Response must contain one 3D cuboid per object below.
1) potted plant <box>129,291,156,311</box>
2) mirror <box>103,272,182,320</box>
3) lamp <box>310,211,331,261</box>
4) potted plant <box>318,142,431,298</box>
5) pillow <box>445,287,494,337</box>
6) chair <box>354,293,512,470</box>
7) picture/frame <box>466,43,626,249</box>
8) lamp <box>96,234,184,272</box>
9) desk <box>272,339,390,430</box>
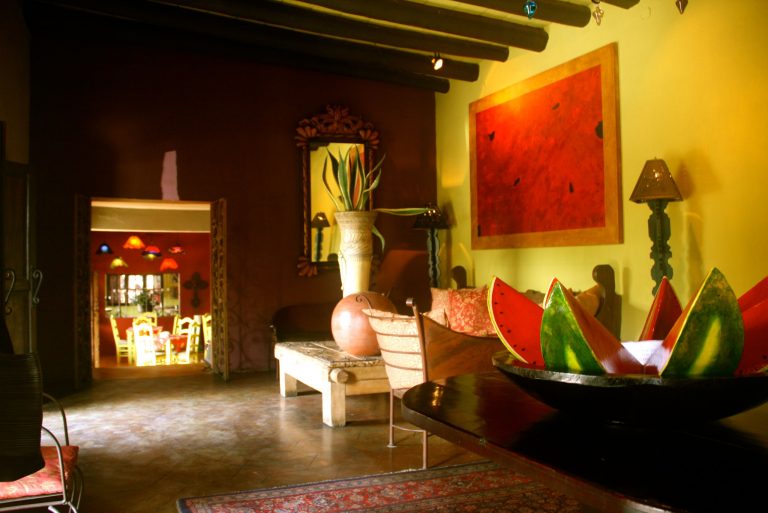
[{"bbox_3d":[-5.680,1.075,13.695,0.501,0.525,0.496,3,-3,-13],"label":"potted plant"},{"bbox_3d":[-5.672,0.945,13.715,1.795,1.088,0.016,3,-11,-42],"label":"mirror"},{"bbox_3d":[-0.820,-0.219,7.239,0.298,0.599,0.292,7,-14,-22],"label":"lamp"},{"bbox_3d":[-0.116,-0.243,4.861,0.846,1.246,0.606,-1,-1,1],"label":"potted plant"},{"bbox_3d":[0.633,0.378,4.593,0.417,0.122,0.442,-11,36,13],"label":"pillow"},{"bbox_3d":[0.260,0.745,3.976,0.875,1.231,0.926,-11,13,-33],"label":"chair"},{"bbox_3d":[1.657,-1.108,5.756,0.090,1.730,2.211,2,-4,-26],"label":"picture/frame"},{"bbox_3d":[-5.444,-0.083,13.065,2.056,0.957,1.400,-1,0,-26],"label":"lamp"},{"bbox_3d":[-0.316,0.968,4.741,0.663,0.325,0.884,-1,2,-29],"label":"desk"}]
